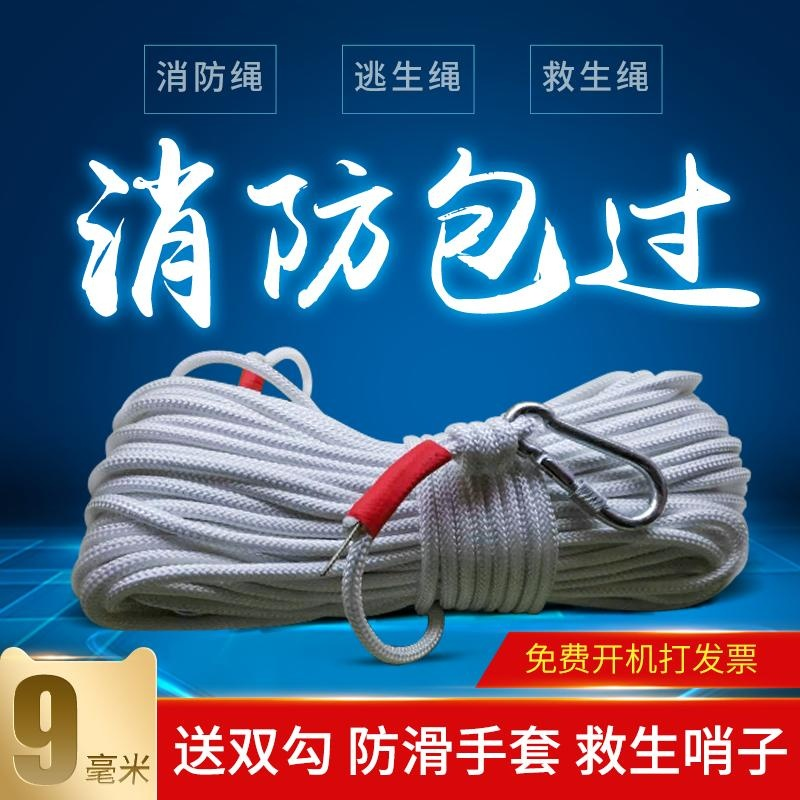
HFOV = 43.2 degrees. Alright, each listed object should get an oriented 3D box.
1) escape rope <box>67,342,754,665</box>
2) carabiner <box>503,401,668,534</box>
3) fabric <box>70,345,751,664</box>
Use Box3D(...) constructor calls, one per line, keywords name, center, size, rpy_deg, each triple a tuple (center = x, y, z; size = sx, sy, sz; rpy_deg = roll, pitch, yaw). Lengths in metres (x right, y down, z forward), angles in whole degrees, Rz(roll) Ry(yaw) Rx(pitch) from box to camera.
Box3D(name="escape rope", center=(0.014, 0.130, 1.353), size=(0.790, 0.200, 0.427), rpy_deg=(-1, 30, -7))
Box3D(name="carabiner", center=(0.238, 0.086, 1.308), size=(0.275, 0.110, 0.036), rpy_deg=(29, -17, 8))
Box3D(name="fabric", center=(0.007, 0.137, 1.359), size=(0.790, 0.199, 0.426), rpy_deg=(-1, 30, -7))
